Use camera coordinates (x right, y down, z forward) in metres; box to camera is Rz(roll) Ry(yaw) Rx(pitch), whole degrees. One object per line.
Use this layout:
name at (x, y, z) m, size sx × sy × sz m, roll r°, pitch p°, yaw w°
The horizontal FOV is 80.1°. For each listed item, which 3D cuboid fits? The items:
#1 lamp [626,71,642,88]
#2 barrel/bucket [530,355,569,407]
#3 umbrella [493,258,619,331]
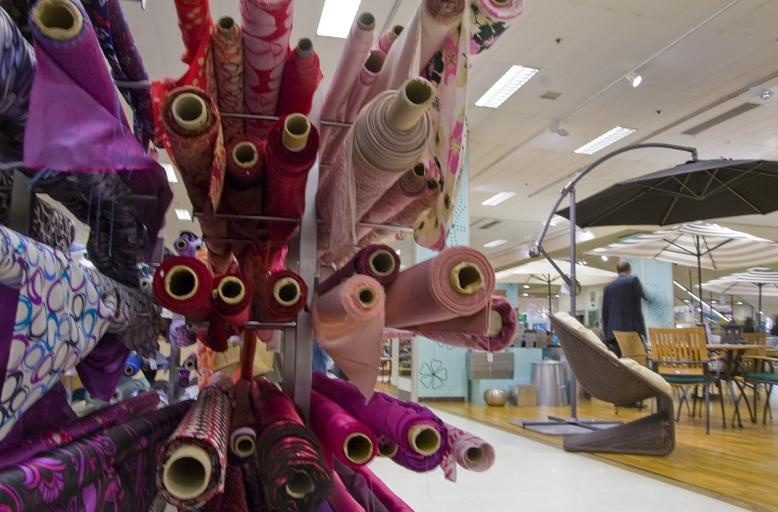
lamp at (3.027, -2.229, 5.855) m, size 0.159 × 0.219 × 0.079 m, roll -17°, pitch -21°, yaw -34°
barrel/bucket at (2.077, 1.645, 6.203) m, size 0.525 × 0.700 × 0.556 m, roll 0°, pitch -5°, yaw 0°
umbrella at (3.405, 0.660, 9.318) m, size 2.037 × 1.724 × 2.309 m, roll 1°, pitch -2°, yaw -19°
